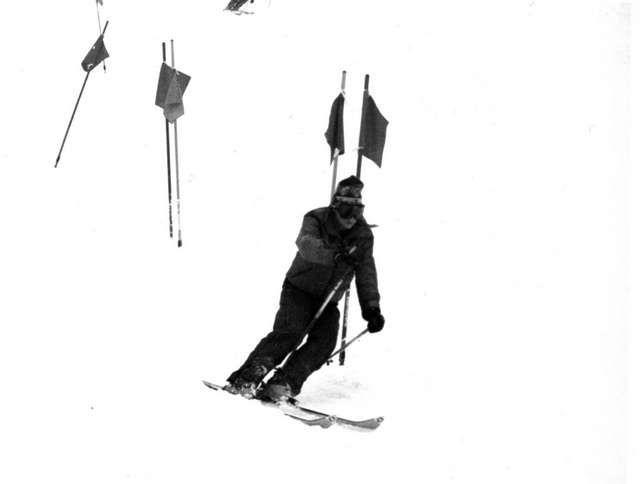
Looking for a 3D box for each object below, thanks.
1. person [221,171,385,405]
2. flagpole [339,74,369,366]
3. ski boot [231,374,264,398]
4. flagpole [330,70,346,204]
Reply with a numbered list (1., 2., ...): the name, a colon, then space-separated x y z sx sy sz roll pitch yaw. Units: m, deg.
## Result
1. person: -0.108 0.483 8.936 1.406 2.340 0.741 1 -1 -16
2. flagpole: 0.359 -0.226 9.307 0.284 3.229 0.650 1 -1 2
3. ski boot: -0.718 1.479 8.558 0.158 0.109 0.274 18 9 -47
4. flagpole: 0.163 -1.155 9.551 0.206 1.436 0.160 -17 28 -34
